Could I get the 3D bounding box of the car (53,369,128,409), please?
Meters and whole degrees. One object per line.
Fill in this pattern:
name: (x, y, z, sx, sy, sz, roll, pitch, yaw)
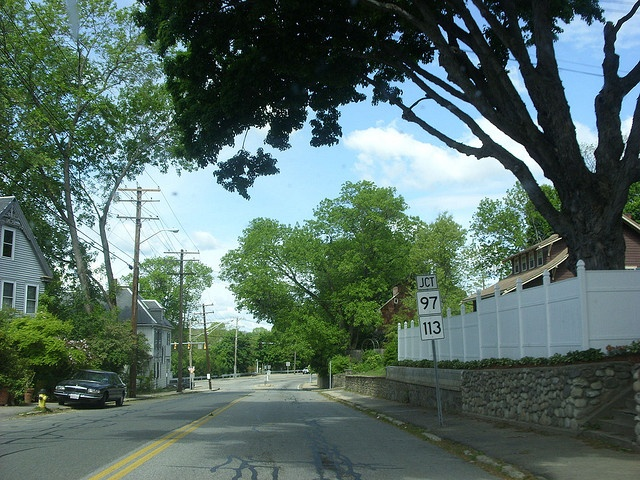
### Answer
car: (-10.396, 7.005, 30.361, 1.530, 1.025, 3.451, 0, -22, 6)
